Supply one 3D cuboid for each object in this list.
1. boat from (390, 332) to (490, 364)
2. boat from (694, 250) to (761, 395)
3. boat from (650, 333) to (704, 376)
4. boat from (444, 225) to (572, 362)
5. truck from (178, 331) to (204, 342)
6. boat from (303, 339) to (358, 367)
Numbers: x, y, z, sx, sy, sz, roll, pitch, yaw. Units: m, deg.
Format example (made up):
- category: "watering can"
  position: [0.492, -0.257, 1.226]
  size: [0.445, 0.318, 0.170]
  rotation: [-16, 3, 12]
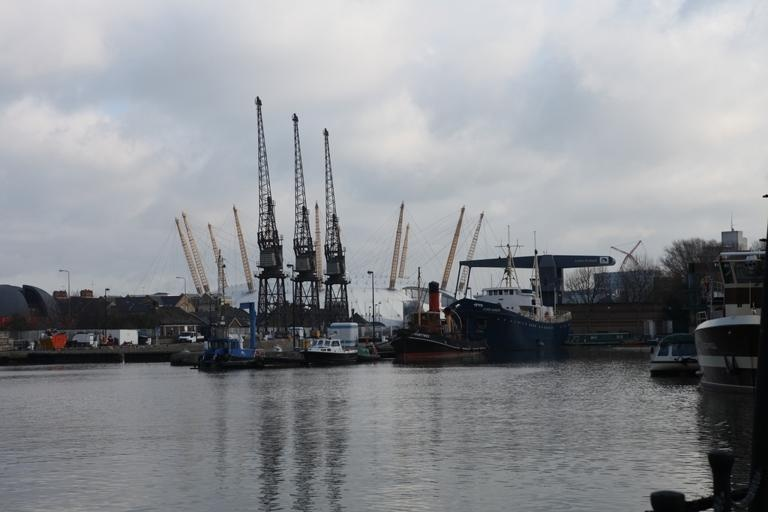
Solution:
- category: "boat"
  position: [5.249, 8.325, 100.733]
  size: [7.813, 2.808, 4.111]
  rotation: [2, -5, -26]
- category: "boat"
  position: [18.922, 3.220, 54.136]
  size: [4.386, 5.573, 12.160]
  rotation: [-1, -6, 14]
- category: "boat"
  position: [19.869, 6.257, 67.350]
  size: [2.736, 2.599, 5.405]
  rotation: [-3, -5, -9]
- category: "boat"
  position: [14.725, 4.831, 119.739]
  size: [7.519, 11.759, 25.273]
  rotation: [2, -3, 28]
- category: "truck"
  position: [-24.357, 9.955, 133.551]
  size: [1.670, 1.114, 2.632]
  rotation: [0, -8, 7]
- category: "boat"
  position: [-4.552, 8.387, 94.378]
  size: [4.879, 2.368, 2.886]
  rotation: [4, -7, -42]
